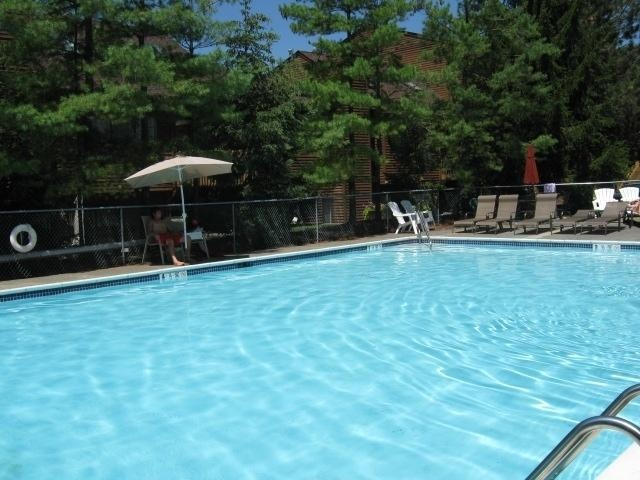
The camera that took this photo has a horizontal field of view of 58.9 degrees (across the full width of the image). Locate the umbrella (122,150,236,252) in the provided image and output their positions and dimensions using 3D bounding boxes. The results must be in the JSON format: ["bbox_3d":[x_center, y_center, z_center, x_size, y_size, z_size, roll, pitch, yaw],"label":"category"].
[{"bbox_3d":[-3.755,-1.006,14.731,2.508,2.265,2.383,8,14,42],"label":"umbrella"}]

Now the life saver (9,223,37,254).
[{"bbox_3d":[-7.026,-0.091,13.499,0.486,0.784,2.823,-7,12,-25],"label":"life saver"}]

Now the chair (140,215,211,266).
[{"bbox_3d":[-4.008,-0.007,15.165,1.770,1.248,1.105,2,5,38],"label":"chair"}]
